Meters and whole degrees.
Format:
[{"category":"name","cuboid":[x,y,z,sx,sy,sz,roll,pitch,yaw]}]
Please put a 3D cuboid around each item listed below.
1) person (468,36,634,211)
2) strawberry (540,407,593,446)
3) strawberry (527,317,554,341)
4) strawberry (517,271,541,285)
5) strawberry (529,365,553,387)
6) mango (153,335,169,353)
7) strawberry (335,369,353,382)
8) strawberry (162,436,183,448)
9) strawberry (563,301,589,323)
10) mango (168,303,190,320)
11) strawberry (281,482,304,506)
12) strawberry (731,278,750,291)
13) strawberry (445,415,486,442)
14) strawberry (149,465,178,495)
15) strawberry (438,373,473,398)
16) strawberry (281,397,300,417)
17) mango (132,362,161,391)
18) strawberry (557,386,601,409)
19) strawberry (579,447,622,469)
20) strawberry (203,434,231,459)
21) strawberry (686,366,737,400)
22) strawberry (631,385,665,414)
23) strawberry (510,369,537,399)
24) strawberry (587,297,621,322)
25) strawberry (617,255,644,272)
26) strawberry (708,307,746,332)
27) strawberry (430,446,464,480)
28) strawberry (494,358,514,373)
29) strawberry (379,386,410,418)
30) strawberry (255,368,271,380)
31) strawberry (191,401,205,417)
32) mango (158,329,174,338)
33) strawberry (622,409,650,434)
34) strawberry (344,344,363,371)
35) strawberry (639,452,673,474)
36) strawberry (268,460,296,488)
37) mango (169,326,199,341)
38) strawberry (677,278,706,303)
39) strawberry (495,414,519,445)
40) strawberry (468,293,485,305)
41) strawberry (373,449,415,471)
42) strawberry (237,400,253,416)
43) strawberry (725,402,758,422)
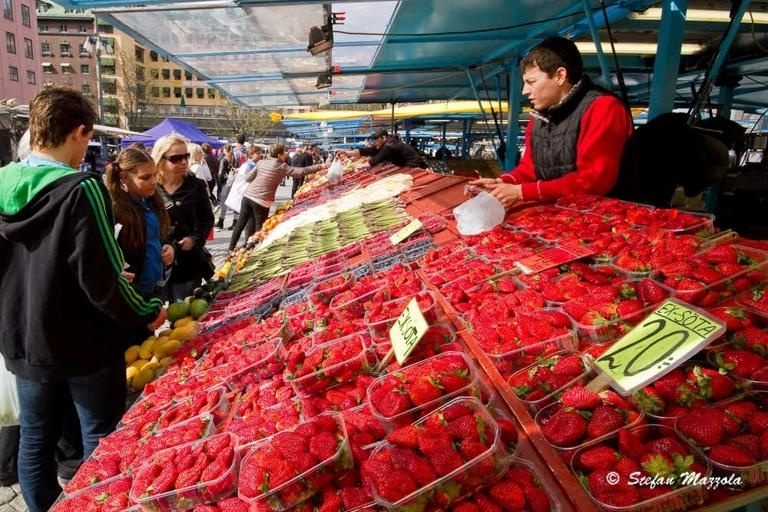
[{"category":"person","cuboid":[1.269,-1.013,3.354,0.773,1.204,0.922,-24,28,-36]},{"category":"strawberry","cuboid":[0.688,0.656,1.689,0.146,0.085,0.140,-19,30,24]},{"category":"strawberry","cuboid":[0.712,0.334,2.014,0.100,0.067,0.103,-8,22,-5]},{"category":"strawberry","cuboid":[0.779,0.115,2.368,0.074,0.038,0.069,-4,7,-6]},{"category":"strawberry","cuboid":[0.654,0.503,1.841,0.076,0.073,0.073,-21,-3,-11]},{"category":"mango","cuboid":[-1.779,0.701,3.535,0.085,0.077,0.145,-7,27,-7]},{"category":"strawberry","cuboid":[-0.196,0.584,2.164,0.075,0.037,0.054,-15,16,-28]},{"category":"strawberry","cuboid":[-1.041,0.922,2.177,0.100,0.031,0.061,2,23,17]},{"category":"strawberry","cuboid":[0.890,0.252,2.048,0.079,0.054,0.094,-2,0,-15]},{"category":"mango","cuboid":[-1.892,0.505,4.119,0.143,0.134,0.195,7,13,35]},{"category":"strawberry","cuboid":[-0.353,0.936,1.728,0.083,0.094,0.027,-10,23,-10]},{"category":"strawberry","cuboid":[1.556,0.123,1.925,0.070,0.044,0.037,-7,22,-3]},{"category":"strawberry","cuboid":[0.313,0.649,1.663,0.126,0.097,0.098,-2,58,8]},{"category":"strawberry","cuboid":[-0.977,0.993,1.951,0.122,0.043,0.122,-17,24,-28]},{"category":"strawberry","cuboid":[0.302,0.534,1.852,0.149,0.058,0.092,-7,22,-5]},{"category":"strawberry","cuboid":[-0.420,0.693,2.016,0.073,0.031,0.103,-13,23,-20]},{"category":"mango","cuboid":[-1.761,0.898,3.264,0.228,0.124,0.111,-40,65,-8]},{"category":"strawberry","cuboid":[0.763,0.554,1.714,0.133,0.069,0.063,-1,-14,19]},{"category":"strawberry","cuboid":[0.782,0.727,1.587,0.123,0.064,0.065,-8,61,23]},{"category":"strawberry","cuboid":[-0.744,0.863,2.001,0.111,0.039,0.083,-34,34,-2]},{"category":"strawberry","cuboid":[1.232,0.481,1.659,0.149,0.103,0.090,11,46,9]},{"category":"strawberry","cuboid":[1.010,0.553,1.681,0.085,0.059,0.102,-21,46,-42]},{"category":"strawberry","cuboid":[0.586,0.542,1.870,0.092,0.041,0.114,-32,19,26]},{"category":"strawberry","cuboid":[0.984,0.251,2.021,0.129,0.097,0.114,-26,39,1]},{"category":"strawberry","cuboid":[1.242,0.037,2.227,0.084,0.051,0.143,-8,22,-7]},{"category":"strawberry","cuboid":[1.417,0.249,1.812,0.116,0.058,0.147,-3,22,5]},{"category":"strawberry","cuboid":[0.223,0.757,1.619,0.099,0.103,0.108,13,51,-36]},{"category":"strawberry","cuboid":[0.540,0.496,1.983,0.066,0.070,0.063,-3,-4,12]},{"category":"strawberry","cuboid":[0.045,0.610,1.821,0.104,0.102,0.094,-36,28,26]},{"category":"strawberry","cuboid":[-0.680,0.658,2.473,0.061,0.043,0.036,-17,29,26]},{"category":"strawberry","cuboid":[-1.006,0.814,2.387,0.064,0.028,0.089,-22,35,-2]},{"category":"mango","cuboid":[-1.863,0.651,3.757,0.090,0.066,0.120,-4,1,1]},{"category":"strawberry","cuboid":[0.935,0.612,1.637,0.078,0.061,0.063,-7,5,16]},{"category":"strawberry","cuboid":[-0.140,0.506,2.216,0.095,0.082,0.148,-3,22,5]},{"category":"strawberry","cuboid":[0.941,0.722,1.523,0.087,0.072,0.065,14,-18,-6]},{"category":"strawberry","cuboid":[-0.409,0.867,1.749,0.107,0.057,0.071,-12,23,-17]},{"category":"mango","cuboid":[-1.596,0.628,3.581,0.266,0.131,0.133,-4,-14,-19]},{"category":"strawberry","cuboid":[1.362,0.151,1.953,0.109,0.096,0.100,0,9,7]},{"category":"strawberry","cuboid":[0.486,0.679,1.739,0.090,0.053,0.073,44,22,21]},{"category":"strawberry","cuboid":[0.505,0.232,2.390,0.065,0.054,0.036,-24,10,18]},{"category":"strawberry","cuboid":[0.037,0.764,1.675,0.157,0.043,0.068,4,24,21]},{"category":"strawberry","cuboid":[-0.721,0.783,2.282,0.076,0.044,0.071,-11,-3,-43]},{"category":"strawberry","cuboid":[1.290,0.562,1.596,0.108,0.060,0.058,-9,48,-4]}]
